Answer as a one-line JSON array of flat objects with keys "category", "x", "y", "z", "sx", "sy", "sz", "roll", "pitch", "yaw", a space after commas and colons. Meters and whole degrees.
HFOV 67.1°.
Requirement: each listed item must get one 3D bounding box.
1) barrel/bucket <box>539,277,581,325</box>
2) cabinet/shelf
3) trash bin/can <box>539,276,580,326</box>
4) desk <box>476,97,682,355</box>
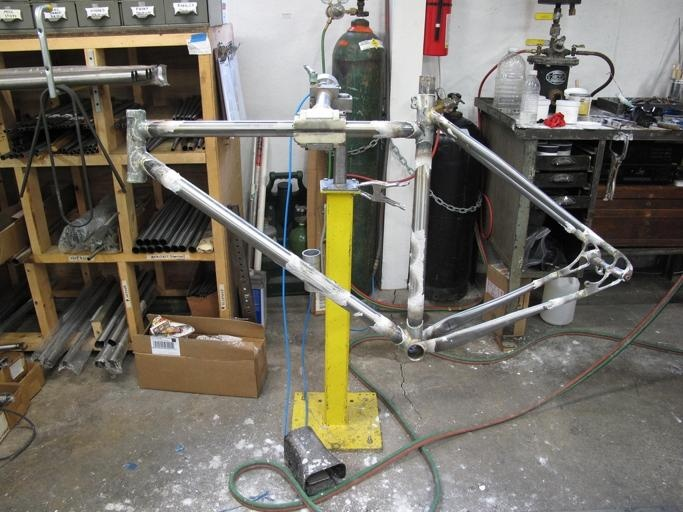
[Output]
[{"category": "barrel/bucket", "x": 1.250, "y": 0.261, "z": 2.976, "sx": 0.168, "sy": 0.318, "sz": 0.170, "roll": -3, "pitch": 36, "yaw": 2}, {"category": "cabinet/shelf", "x": -1.293, "y": -0.423, "z": 3.058, "sx": 1.285, "sy": 1.691, "sz": 1.089, "roll": -1, "pitch": 26, "yaw": -2}, {"category": "trash bin/can", "x": 1.436, "y": 0.259, "z": 3.403, "sx": 0.204, "sy": 0.382, "sz": 0.204, "roll": 11, "pitch": 35, "yaw": 29}, {"category": "desk", "x": 1.395, "y": -0.209, "z": 3.271, "sx": 0.942, "sy": 1.328, "sz": 0.853, "roll": 0, "pitch": 26, "yaw": -2}]
